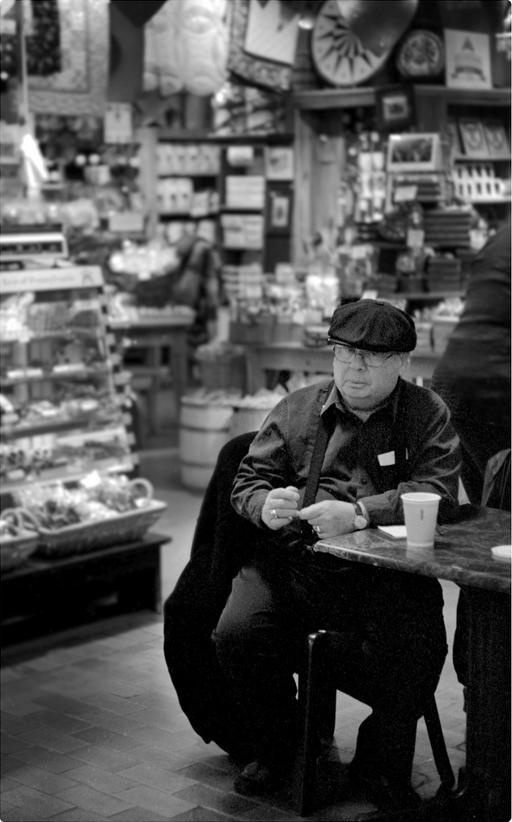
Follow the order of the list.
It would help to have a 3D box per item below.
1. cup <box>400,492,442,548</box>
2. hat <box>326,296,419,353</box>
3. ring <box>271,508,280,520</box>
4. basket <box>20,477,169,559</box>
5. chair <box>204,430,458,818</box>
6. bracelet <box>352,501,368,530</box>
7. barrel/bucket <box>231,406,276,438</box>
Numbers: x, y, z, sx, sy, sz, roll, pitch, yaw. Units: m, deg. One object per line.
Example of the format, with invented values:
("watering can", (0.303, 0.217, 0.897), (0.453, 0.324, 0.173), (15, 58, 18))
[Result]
("cup", (0.285, 0.198, 1.321), (0.080, 0.091, 0.078), (-1, -2, 0))
("hat", (0.255, -0.186, 1.630), (0.191, 0.121, 0.091), (1, 9, 7))
("ring", (0.039, 0.220, 1.550), (0.013, 0.017, 0.018), (-1, -3, 7))
("basket", (-0.503, 0.311, 2.231), (0.378, 0.165, 0.239), (-5, 9, -37))
("chair", (0.140, 0.491, 1.826), (0.536, 0.827, 0.520), (3, 3, 3))
("bracelet", (0.213, 0.216, 1.494), (0.040, 0.042, 0.042), (-10, 1, 41))
("barrel/bucket", (-0.034, 0.032, 2.477), (0.093, 0.108, 0.100), (1, 5, 0))
